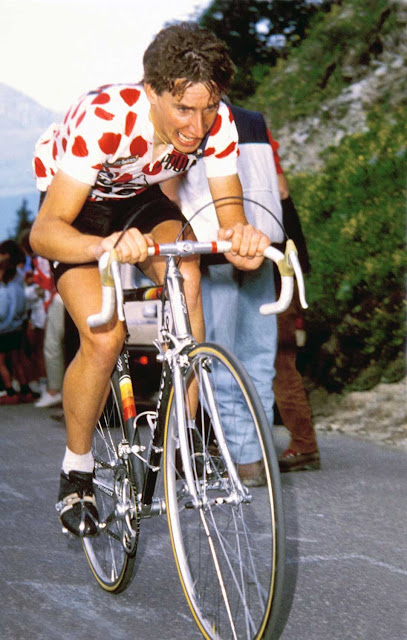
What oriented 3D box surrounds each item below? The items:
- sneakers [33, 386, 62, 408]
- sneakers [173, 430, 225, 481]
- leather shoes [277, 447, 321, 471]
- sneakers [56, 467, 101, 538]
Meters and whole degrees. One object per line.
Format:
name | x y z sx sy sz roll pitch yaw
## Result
sneakers | -1.861 0.965 7.743 0.456 0.204 0.165 -2 3 30
sneakers | 0.006 0.359 1.745 0.127 0.164 0.050 -8 1 7
leather shoes | 0.629 0.910 4.157 0.327 0.133 0.118 5 -11 -19
sneakers | -0.474 0.692 2.402 0.165 0.263 0.266 3 -12 -16
